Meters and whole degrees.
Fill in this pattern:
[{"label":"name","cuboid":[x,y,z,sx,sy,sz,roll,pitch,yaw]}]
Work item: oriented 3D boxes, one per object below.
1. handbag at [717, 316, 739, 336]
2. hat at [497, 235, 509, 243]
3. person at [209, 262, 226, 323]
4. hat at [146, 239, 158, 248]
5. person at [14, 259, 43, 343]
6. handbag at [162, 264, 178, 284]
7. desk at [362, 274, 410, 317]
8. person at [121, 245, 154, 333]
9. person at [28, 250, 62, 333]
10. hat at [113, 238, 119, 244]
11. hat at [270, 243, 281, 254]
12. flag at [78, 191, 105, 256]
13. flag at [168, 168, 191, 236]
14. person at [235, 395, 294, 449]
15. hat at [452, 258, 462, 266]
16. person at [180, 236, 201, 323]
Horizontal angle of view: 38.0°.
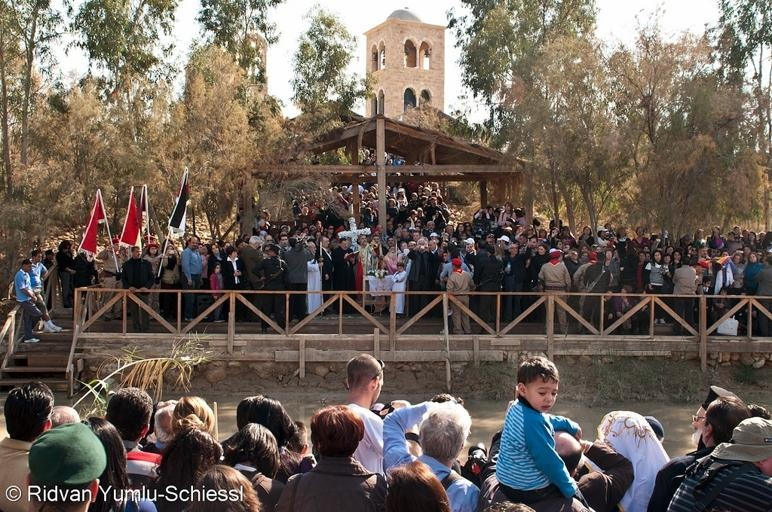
[{"label":"handbag","cuboid":[8.959,1.782,29.159,0.449,0.480,0.465,3,7,31]},{"label":"hat","cuboid":[3.308,-0.502,31.096,0.256,0.135,0.194,-7,11,-40]},{"label":"person","cuboid":[-4.447,0.923,29.427,0.436,1.550,1.410,3,-7,-9]},{"label":"hat","cuboid":[-6.257,-0.364,29.930,0.372,0.211,0.503,2,4,-5]},{"label":"person","cuboid":[-9.199,1.147,28.713,0.645,2.069,0.935,4,-6,-14]},{"label":"handbag","cuboid":[-5.663,0.449,29.401,0.474,0.632,0.369,2,-3,-27]},{"label":"desk","cuboid":[0.082,0.722,30.387,1.178,1.484,1.056,6,-16,-16]},{"label":"person","cuboid":[-6.386,0.859,28.703,0.717,2.378,0.799,7,18,25]},{"label":"person","cuboid":[-8.943,0.866,29.148,0.681,2.135,0.730,-4,6,-8]},{"label":"hat","cuboid":[-7.596,-0.452,31.404,0.209,0.217,0.270,-1,1,-1]},{"label":"hat","cuboid":[-2.864,-0.220,29.072,0.217,0.233,0.220,-11,-15,39]},{"label":"flag","cuboid":[-7.394,-0.855,28.329,0.599,2.069,0.300,3,-30,-11]},{"label":"flag","cuboid":[-5.373,-1.499,29.422,0.478,0.349,2.376,-4,-36,-19]},{"label":"person","cuboid":[-2.300,2.976,21.041,0.965,0.954,0.747,-2,19,-8]},{"label":"hat","cuboid":[1.848,0.126,29.029,0.220,0.183,0.164,2,-6,3]},{"label":"person","cuboid":[-5.139,0.568,29.581,0.496,2.157,0.761,1,-6,13]}]
